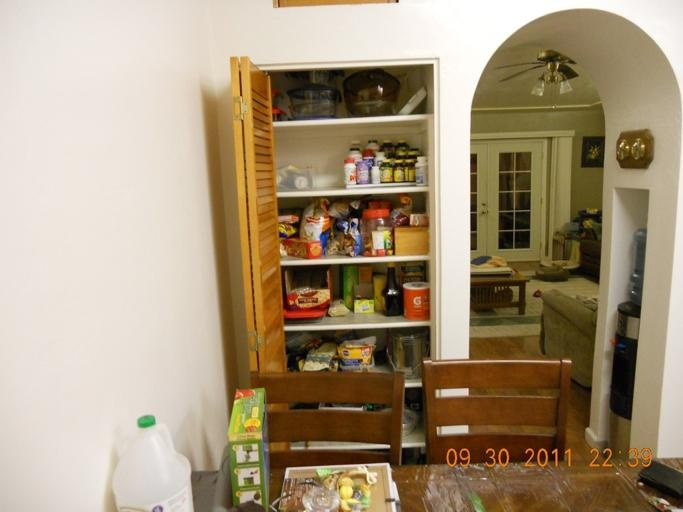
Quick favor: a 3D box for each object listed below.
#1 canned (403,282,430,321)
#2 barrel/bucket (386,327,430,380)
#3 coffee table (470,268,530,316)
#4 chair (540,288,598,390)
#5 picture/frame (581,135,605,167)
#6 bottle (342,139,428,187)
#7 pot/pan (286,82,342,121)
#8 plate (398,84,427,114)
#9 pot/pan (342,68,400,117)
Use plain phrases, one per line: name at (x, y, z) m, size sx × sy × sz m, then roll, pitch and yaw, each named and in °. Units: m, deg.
canned at (0.381, 0.227, 2.928) m, size 0.160 × 0.184 × 0.160 m, roll -2°, pitch 6°, yaw -20°
barrel/bucket at (0.377, 0.516, 3.097) m, size 0.205 × 0.231 × 0.211 m, roll 0°, pitch 12°, yaw 0°
coffee table at (1.623, 0.350, 5.900) m, size 0.574 × 0.449 × 0.644 m, roll 0°, pitch 9°, yaw 7°
chair at (1.470, 0.528, 3.626) m, size 0.337 × 0.413 × 0.589 m, roll -3°, pitch 12°, yaw -14°
picture/frame at (3.744, -1.568, 8.393) m, size 0.288 × 0.463 × 0.251 m, roll 4°, pitch 10°, yaw 31°
bottle at (0.227, -0.474, 2.869) m, size 0.428 × 0.240 × 0.266 m, roll -1°, pitch -9°, yaw -1°
pot/pan at (-0.135, -0.772, 2.818) m, size 0.314 × 0.187 × 0.273 m, roll -11°, pitch 11°, yaw -43°
plate at (0.371, -0.789, 2.892) m, size 0.134 × 0.137 × 0.291 m, roll 0°, pitch 9°, yaw 9°
pot/pan at (0.145, -0.810, 2.794) m, size 0.252 × 0.179 × 0.241 m, roll -2°, pitch 10°, yaw -10°
